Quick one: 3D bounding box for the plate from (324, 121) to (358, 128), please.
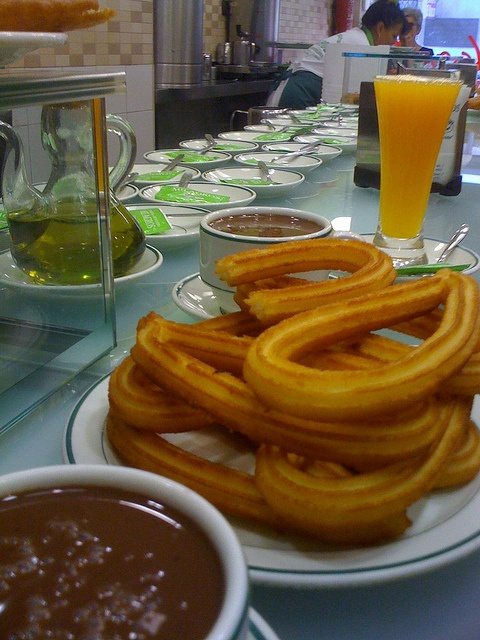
[{"bbox_3d":[0.379,-0.722,1.837,0.101,0.020,0.091,-10,25,-29],"label":"plate"}]

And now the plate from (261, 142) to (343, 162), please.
[{"bbox_3d":[0.175,-0.470,1.364,0.143,0.030,0.138,6,23,9],"label":"plate"}]

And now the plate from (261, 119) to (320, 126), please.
[{"bbox_3d":[0.199,-0.752,1.886,0.126,0.025,0.112,-8,19,-30],"label":"plate"}]

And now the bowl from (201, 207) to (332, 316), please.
[{"bbox_3d":[0.019,-0.053,0.477,0.124,0.080,0.110,-4,15,17],"label":"bowl"}]

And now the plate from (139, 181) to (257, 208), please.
[{"bbox_3d":[-0.086,-0.223,0.888,0.149,0.027,0.136,9,23,7],"label":"plate"}]

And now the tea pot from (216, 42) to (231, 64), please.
[{"bbox_3d":[-0.128,-2.021,3.770,0.114,0.176,0.220,1,18,-3],"label":"tea pot"}]

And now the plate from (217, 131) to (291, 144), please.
[{"bbox_3d":[0.047,-0.581,1.578,0.141,0.028,0.130,3,22,2],"label":"plate"}]

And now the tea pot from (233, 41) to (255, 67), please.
[{"bbox_3d":[0.017,-1.992,3.718,0.135,0.166,0.114,-1,20,-11],"label":"tea pot"}]

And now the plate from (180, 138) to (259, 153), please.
[{"bbox_3d":[-0.058,-0.505,1.438,0.120,0.026,0.118,18,23,26],"label":"plate"}]

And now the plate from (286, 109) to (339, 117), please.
[{"bbox_3d":[0.318,-0.897,2.148,0.145,0.027,0.139,8,24,17],"label":"plate"}]

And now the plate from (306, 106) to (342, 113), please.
[{"bbox_3d":[0.391,-0.969,2.282,0.130,0.027,0.126,-19,28,-38],"label":"plate"}]

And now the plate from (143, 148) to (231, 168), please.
[{"bbox_3d":[-0.132,-0.413,1.268,0.140,0.029,0.132,10,19,13],"label":"plate"}]

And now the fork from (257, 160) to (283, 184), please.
[{"bbox_3d":[0.066,-0.325,1.085,0.020,0.013,0.091,-8,36,-11],"label":"fork"}]

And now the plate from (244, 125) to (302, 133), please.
[{"bbox_3d":[0.107,-0.676,1.753,0.146,0.018,0.090,0,16,-3],"label":"plate"}]

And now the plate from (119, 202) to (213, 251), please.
[{"bbox_3d":[-0.104,-0.140,0.721,0.118,0.029,0.110,-19,34,-41],"label":"plate"}]
